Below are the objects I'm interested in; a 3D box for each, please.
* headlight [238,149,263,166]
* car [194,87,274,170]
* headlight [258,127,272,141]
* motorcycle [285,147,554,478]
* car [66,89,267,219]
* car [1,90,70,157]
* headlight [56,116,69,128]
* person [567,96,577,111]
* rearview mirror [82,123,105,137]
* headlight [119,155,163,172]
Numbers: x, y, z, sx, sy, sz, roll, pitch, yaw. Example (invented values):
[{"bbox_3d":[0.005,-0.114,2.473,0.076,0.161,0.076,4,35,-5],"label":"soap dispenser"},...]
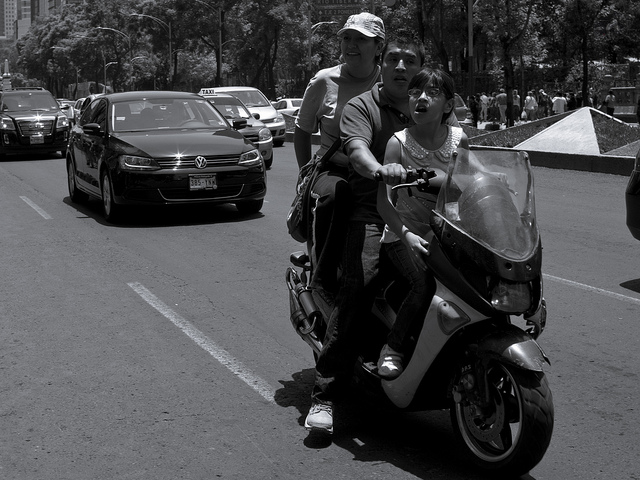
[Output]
[{"bbox_3d":[-1.158,-1.383,10.679,0.177,0.245,0.590,5,12,26],"label":"headlight"},{"bbox_3d":[-2.600,-3.571,19.355,1.694,1.899,3.629,-1,6,-19],"label":"car"},{"bbox_3d":[-1.546,-2.920,17.565,0.229,0.350,0.424,6,12,33],"label":"headlight"},{"bbox_3d":[0.495,0.402,3.298,0.761,1.484,2.127,-2,19,-20],"label":"motorcycle"},{"bbox_3d":[-2.867,-1.559,11.222,3.729,2.138,2.322,9,14,40],"label":"car"},{"bbox_3d":[-10.279,-4.140,22.750,2.244,2.358,2.519,-5,12,-25],"label":"car"},{"bbox_3d":[-9.112,-4.169,22.461,0.257,0.377,0.845,-1,11,-1],"label":"headlight"},{"bbox_3d":[14.822,-8.057,37.379,0.413,0.761,1.967,3,12,20],"label":"person"},{"bbox_3d":[-3.818,-1.847,10.719,0.210,0.136,0.297,0,5,-10],"label":"rearview mirror"},{"bbox_3d":[-2.876,-1.199,10.076,0.413,0.191,0.342,1,1,4],"label":"headlight"}]
